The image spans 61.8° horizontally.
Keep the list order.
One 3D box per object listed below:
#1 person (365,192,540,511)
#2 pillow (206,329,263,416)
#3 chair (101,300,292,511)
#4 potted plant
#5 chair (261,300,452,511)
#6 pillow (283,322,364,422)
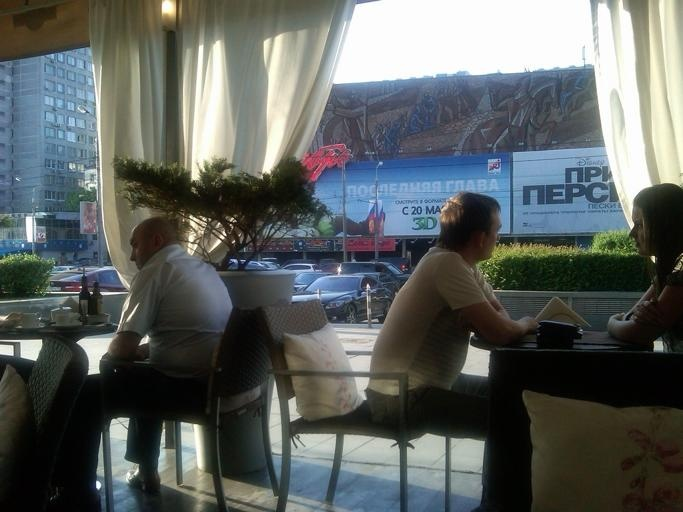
[{"bbox_3d":[0.485,0.226,3.359,1.028,2.027,0.738,-3,2,2],"label":"person"},{"bbox_3d":[-0.536,0.670,3.065,0.318,0.341,0.274,-12,-41,0],"label":"pillow"},{"bbox_3d":[-0.695,0.677,3.426,0.948,1.520,1.059,0,-5,13],"label":"chair"},{"bbox_3d":[-0.629,0.310,4.622,1.547,2.066,1.913,-2,3,9],"label":"potted plant"},{"bbox_3d":[0.113,0.755,3.206,0.969,1.526,0.946,-3,-5,21],"label":"chair"},{"bbox_3d":[-0.091,0.581,2.783,0.219,0.421,0.458,-1,2,33],"label":"pillow"}]
